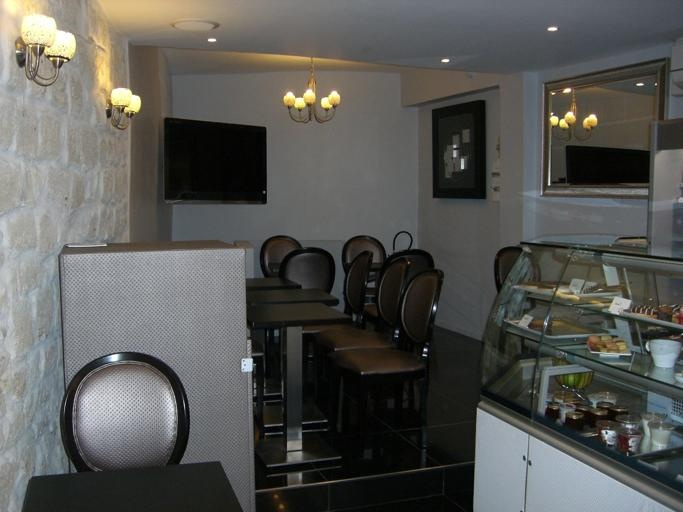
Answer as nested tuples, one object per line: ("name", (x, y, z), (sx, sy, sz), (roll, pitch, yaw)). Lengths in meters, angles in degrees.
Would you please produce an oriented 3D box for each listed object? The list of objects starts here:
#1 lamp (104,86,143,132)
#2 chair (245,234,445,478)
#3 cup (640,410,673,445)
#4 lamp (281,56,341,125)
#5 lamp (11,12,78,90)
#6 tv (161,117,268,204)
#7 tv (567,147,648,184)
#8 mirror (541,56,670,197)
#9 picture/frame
("lamp", (-1.362, -0.910, 3.270), (0.183, 0.235, 0.265), (-11, 29, -37))
("chair", (0.032, 0.617, 3.899), (1.068, 1.353, 1.331), (3, 0, -17))
("cup", (1.156, 0.625, 1.928), (0.087, 0.066, 0.090), (0, -2, 0))
("lamp", (-0.413, -2.103, 6.617), (0.648, 1.052, 0.572), (-5, 10, -34))
("lamp", (-1.087, -0.732, 1.908), (0.157, 0.200, 0.252), (2, 3, -1))
("tv", (-1.389, -1.066, 5.974), (0.238, 0.928, 1.489), (5, 8, 29))
("tv", (2.217, -0.776, 4.463), (0.087, 0.355, 0.792), (-1, 8, -23))
("mirror", (2.158, -1.071, 4.270), (0.104, 1.248, 1.348), (1, 0, -25))
("picture/frame", (1.437, -1.280, 6.449), (0.164, 1.117, 1.040), (-1, 7, -21))
